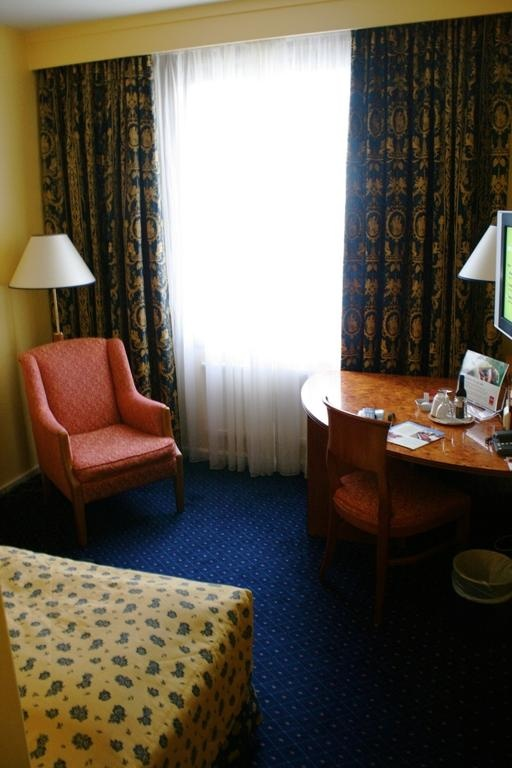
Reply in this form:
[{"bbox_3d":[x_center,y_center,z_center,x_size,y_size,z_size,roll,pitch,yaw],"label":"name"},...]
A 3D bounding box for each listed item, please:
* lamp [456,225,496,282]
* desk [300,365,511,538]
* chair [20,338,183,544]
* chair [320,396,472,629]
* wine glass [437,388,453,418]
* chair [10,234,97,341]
[{"bbox_3d":[0.963,-0.561,2.559,0.104,0.235,0.257,-6,14,-17],"label":"lamp"},{"bbox_3d":[0.540,0.154,2.533,0.865,0.531,0.722,10,26,22],"label":"desk"},{"bbox_3d":[-0.817,0.246,3.206,0.673,0.894,0.699,-11,16,-35],"label":"chair"},{"bbox_3d":[0.512,0.443,2.399,0.541,0.821,0.480,-10,15,-32],"label":"chair"},{"bbox_3d":[0.780,0.083,2.478,0.073,0.136,0.118,-3,-10,37],"label":"wine glass"},{"bbox_3d":[-1.101,-0.664,3.215,0.434,0.275,0.171,-8,14,-21],"label":"chair"}]
